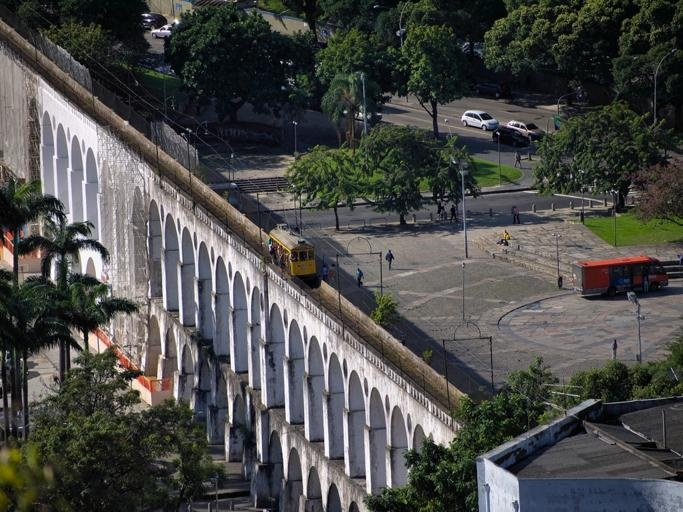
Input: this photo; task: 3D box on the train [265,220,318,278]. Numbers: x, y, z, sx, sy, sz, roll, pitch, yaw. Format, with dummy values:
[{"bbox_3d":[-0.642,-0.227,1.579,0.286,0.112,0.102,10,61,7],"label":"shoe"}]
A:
[{"bbox_3d":[-4.106,-0.461,193.757,2.101,3.065,5.932,-10,24,-17],"label":"train"}]
